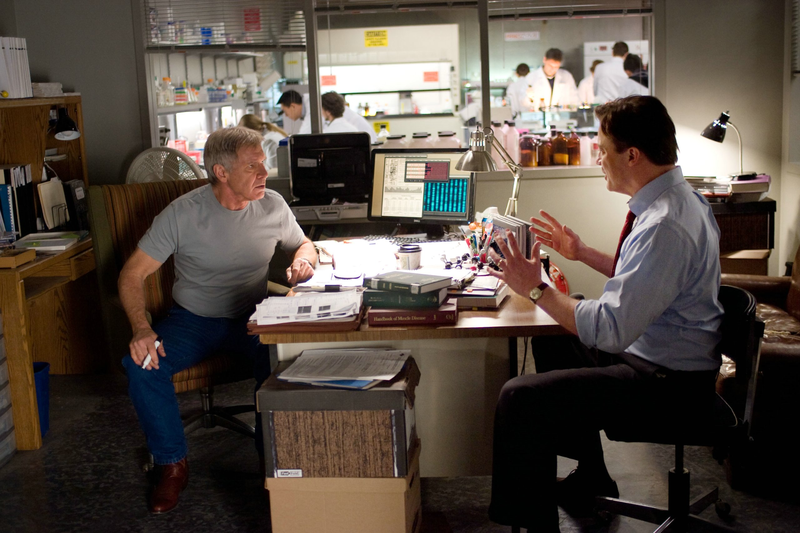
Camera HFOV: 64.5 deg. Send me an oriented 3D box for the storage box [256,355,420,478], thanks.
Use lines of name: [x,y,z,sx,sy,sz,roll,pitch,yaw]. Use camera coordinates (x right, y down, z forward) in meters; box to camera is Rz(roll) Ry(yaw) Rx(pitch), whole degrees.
storage box: [-0.259,0.594,2.513,0.484,0.282,0.462,0,7,5]

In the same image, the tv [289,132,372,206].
tv: [-0.472,-0.698,4.402,0.555,0.447,0.223,-1,12,3]

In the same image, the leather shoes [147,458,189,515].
leather shoes: [-1.100,1.045,2.987,0.119,0.134,0.324,0,1,1]

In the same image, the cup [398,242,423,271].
cup: [0.051,-0.054,3.162,0.117,0.106,0.116,-1,15,0]

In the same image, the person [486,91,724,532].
person: [0.787,0.238,2.606,1.018,1.822,0.744,-6,15,-12]

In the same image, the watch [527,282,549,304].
watch: [0.539,0.097,2.508,0.090,0.089,0.051,-40,55,0]
